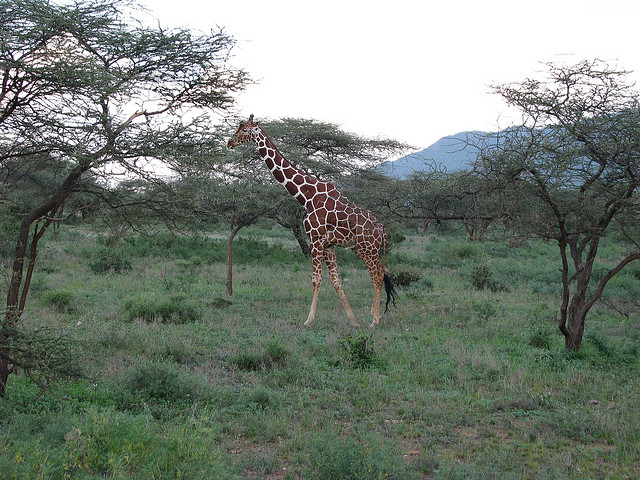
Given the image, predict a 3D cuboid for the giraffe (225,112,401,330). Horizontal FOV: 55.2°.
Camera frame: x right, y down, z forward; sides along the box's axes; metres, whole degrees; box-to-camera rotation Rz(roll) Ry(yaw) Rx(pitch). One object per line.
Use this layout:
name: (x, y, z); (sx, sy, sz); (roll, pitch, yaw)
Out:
giraffe: (0.420, -0.714, 18.710); (4.395, 5.784, 7.856); (4, 10, 7)
